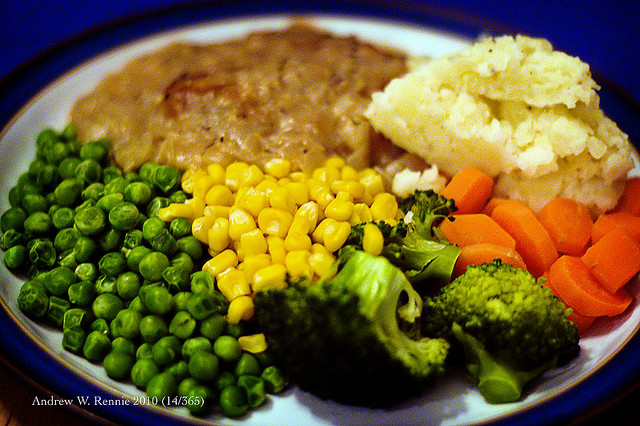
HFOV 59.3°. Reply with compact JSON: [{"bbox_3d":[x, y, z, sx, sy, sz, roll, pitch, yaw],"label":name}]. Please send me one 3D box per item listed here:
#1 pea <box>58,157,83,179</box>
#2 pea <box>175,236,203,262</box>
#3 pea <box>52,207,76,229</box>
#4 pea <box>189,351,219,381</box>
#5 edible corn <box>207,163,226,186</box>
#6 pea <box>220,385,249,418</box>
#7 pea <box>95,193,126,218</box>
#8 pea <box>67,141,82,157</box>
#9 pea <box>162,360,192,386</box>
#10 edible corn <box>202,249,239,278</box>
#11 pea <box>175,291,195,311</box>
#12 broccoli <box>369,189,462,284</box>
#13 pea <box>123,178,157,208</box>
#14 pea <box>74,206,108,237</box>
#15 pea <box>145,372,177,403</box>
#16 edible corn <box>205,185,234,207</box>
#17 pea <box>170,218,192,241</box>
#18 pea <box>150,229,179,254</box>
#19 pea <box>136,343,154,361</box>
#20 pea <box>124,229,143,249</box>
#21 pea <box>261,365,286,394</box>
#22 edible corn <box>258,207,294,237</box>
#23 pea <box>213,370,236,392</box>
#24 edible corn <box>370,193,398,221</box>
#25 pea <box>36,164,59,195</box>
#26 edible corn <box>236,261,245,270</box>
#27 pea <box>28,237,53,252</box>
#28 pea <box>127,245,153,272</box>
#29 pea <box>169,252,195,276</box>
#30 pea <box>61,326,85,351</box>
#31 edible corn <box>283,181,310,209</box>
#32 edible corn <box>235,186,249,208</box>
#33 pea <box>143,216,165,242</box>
[{"bbox_3d":[-2.437,-0.450,5.525,0.205,0.140,0.191,0,64,-22],"label":"pea"},{"bbox_3d":[-1.163,0.289,5.012,0.166,0.124,0.221,-18,61,-39],"label":"pea"},{"bbox_3d":[-2.333,0.045,5.141,0.187,0.105,0.198,-1,59,-11],"label":"pea"},{"bbox_3d":[-0.924,1.216,4.482,0.226,0.137,0.211,1,61,1],"label":"pea"},{"bbox_3d":[-0.967,-0.380,5.325,0.145,0.103,0.202,-13,73,-15],"label":"edible corn"},{"bbox_3d":[-0.668,1.482,4.429,0.115,0.233,0.240,-9,71,9],"label":"pea"},{"bbox_3d":[-1.880,-0.071,5.016,0.177,0.219,0.132,-3,95,1],"label":"pea"},{"bbox_3d":[-2.450,-0.650,5.645,0.114,0.084,0.145,-4,48,-11],"label":"pea"},{"bbox_3d":[-1.131,1.260,4.535,0.185,0.173,0.171,-4,56,-43],"label":"pea"},{"bbox_3d":[-0.857,0.421,4.898,0.285,0.095,0.170,-38,46,-22],"label":"edible corn"},{"bbox_3d":[-1.133,0.721,4.715,0.116,0.080,0.141,15,20,24],"label":"pea"},{"bbox_3d":[0.893,0.291,5.082,0.741,0.444,0.728,-42,51,-14],"label":"broccoli"},{"bbox_3d":[-1.655,-0.181,5.224,0.289,0.172,0.204,-29,65,-14],"label":"pea"},{"bbox_3d":[-1.998,0.071,4.942,0.245,0.146,0.210,-5,61,-2],"label":"pea"},{"bbox_3d":[-1.230,1.383,4.496,0.225,0.168,0.172,-31,70,-7],"label":"pea"},{"bbox_3d":[-0.910,-0.158,5.156,0.274,0.163,0.279,0,85,-8],"label":"edible corn"},{"bbox_3d":[-1.237,0.138,5.043,0.147,0.115,0.200,19,51,6],"label":"pea"},{"bbox_3d":[-1.348,0.242,4.942,0.142,0.185,0.209,-33,56,-24],"label":"pea"},{"bbox_3d":[-1.409,1.123,4.577,0.129,0.122,0.127,-22,39,-22],"label":"pea"},{"bbox_3d":[-1.632,0.228,4.936,0.142,0.073,0.153,2,66,6],"label":"pea"},{"bbox_3d":[-0.371,1.347,4.582,0.163,0.231,0.178,2,21,7],"label":"pea"},{"bbox_3d":[-0.382,0.033,4.969,0.255,0.248,0.237,13,64,7],"label":"edible corn"},{"bbox_3d":[-0.760,1.331,4.499,0.135,0.140,0.174,-2,100,-5],"label":"pea"},{"bbox_3d":[0.586,-0.062,5.245,0.225,0.114,0.243,-3,104,-15],"label":"edible corn"},{"bbox_3d":[-2.639,-0.340,5.474,0.195,0.106,0.278,9,78,-22],"label":"pea"},{"bbox_3d":[-0.686,0.453,4.898,0.068,0.071,0.036,-22,82,20],"label":"edible corn"},{"bbox_3d":[-2.536,0.265,5.087,0.132,0.069,0.135,-12,27,-13],"label":"pea"},{"bbox_3d":[-1.570,0.375,4.940,0.158,0.171,0.223,8,27,33],"label":"pea"},{"bbox_3d":[-1.187,0.426,4.919,0.162,0.190,0.110,23,98,-31],"label":"pea"},{"bbox_3d":[-2.012,1.017,4.649,0.170,0.175,0.183,0,94,-3],"label":"pea"},{"bbox_3d":[-0.182,-0.187,5.154,0.205,0.230,0.220,16,89,32],"label":"edible corn"},{"bbox_3d":[-0.719,-0.162,5.173,0.061,0.129,0.179,29,63,-20],"label":"edible corn"},{"bbox_3d":[-1.461,0.123,4.971,0.153,0.112,0.204,3,60,-3],"label":"pea"}]
